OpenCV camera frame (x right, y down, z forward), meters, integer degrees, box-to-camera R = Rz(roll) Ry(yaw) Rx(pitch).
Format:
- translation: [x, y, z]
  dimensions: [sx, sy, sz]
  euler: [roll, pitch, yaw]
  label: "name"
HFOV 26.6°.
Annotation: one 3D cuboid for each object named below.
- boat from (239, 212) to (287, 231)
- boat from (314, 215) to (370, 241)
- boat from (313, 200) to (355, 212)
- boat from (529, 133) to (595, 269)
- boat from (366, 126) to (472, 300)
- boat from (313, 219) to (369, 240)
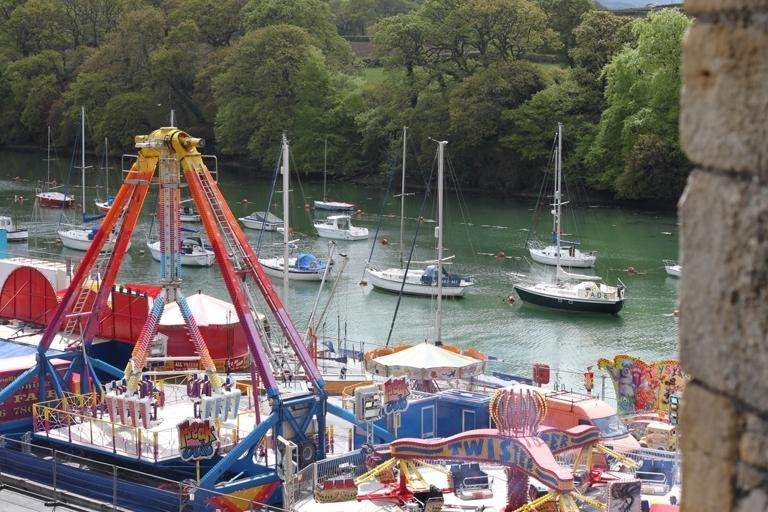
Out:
- translation: [-9.996, -2.673, 131.123]
  dimensions: [1.947, 1.024, 3.392]
  euler: [-7, 12, -38]
  label: "boat"
- translation: [-4.103, -2.050, 128.676]
  dimensions: [3.214, 1.261, 2.242]
  euler: [12, 13, 43]
  label: "boat"
- translation: [-4.560, -4.160, 139.390]
  dimensions: [2.591, 0.634, 1.401]
  euler: [6, 11, 27]
  label: "boat"
- translation: [13.219, -3.879, 121.169]
  dimensions: [4.507, 10.950, 3.702]
  euler: [6, 0, 21]
  label: "boat"
- translation: [2.492, 1.517, 114.253]
  dimensions: [5.645, 13.498, 5.536]
  euler: [-1, -1, -2]
  label: "boat"
- translation: [-3.980, -2.121, 128.587]
  dimensions: [3.093, 1.230, 2.091]
  euler: [10, 11, 39]
  label: "boat"
